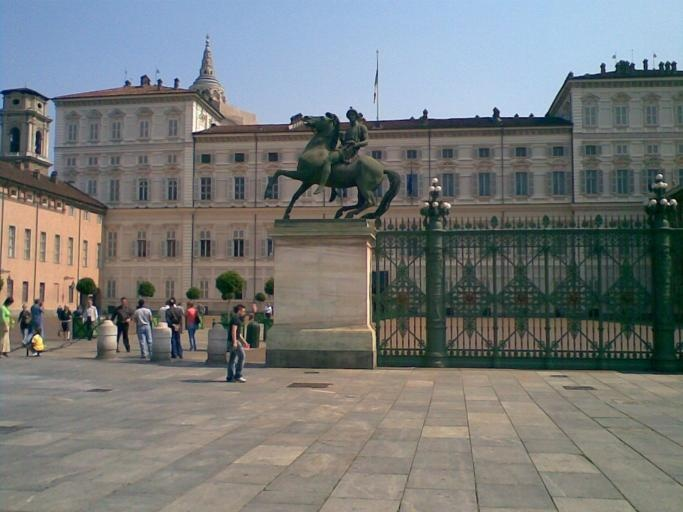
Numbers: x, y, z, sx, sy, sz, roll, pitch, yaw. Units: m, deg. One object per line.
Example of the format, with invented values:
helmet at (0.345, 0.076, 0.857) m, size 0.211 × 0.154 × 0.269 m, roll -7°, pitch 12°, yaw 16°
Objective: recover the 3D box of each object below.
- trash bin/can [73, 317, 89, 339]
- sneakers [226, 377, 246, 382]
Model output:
trash bin/can at (-12.353, 3.392, 47.976) m, size 0.652 × 1.006 × 1.156 m, roll -2°, pitch -1°, yaw -16°
sneakers at (-3.388, 4.013, 32.807) m, size 0.637 × 0.260 × 0.212 m, roll -3°, pitch -6°, yaw 5°
